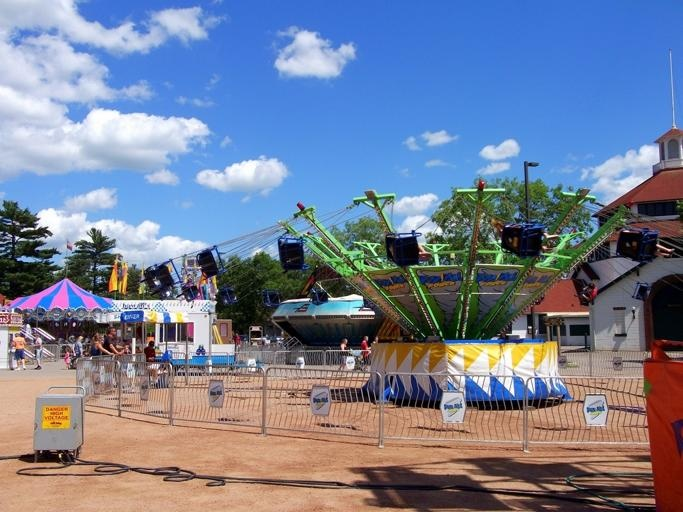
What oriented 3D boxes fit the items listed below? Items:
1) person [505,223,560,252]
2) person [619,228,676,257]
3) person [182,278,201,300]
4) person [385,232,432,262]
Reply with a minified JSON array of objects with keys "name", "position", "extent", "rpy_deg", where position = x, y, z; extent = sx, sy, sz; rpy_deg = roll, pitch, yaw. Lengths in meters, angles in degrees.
[{"name":"person","position":[5.181,-0.495,22.922],"extent":[1.097,0.703,0.816],"rpy_deg":[-1,0,-13]},{"name":"person","position":[9.000,-0.390,24.386],"extent":[1.493,0.922,0.818],"rpy_deg":[1,3,38]},{"name":"person","position":[-6.268,1.372,34.196],"extent":[0.808,0.925,0.781],"rpy_deg":[3,-9,-24]},{"name":"person","position":[1.711,-0.259,23.140],"extent":[0.894,0.949,0.899],"rpy_deg":[-1,-9,0]}]
